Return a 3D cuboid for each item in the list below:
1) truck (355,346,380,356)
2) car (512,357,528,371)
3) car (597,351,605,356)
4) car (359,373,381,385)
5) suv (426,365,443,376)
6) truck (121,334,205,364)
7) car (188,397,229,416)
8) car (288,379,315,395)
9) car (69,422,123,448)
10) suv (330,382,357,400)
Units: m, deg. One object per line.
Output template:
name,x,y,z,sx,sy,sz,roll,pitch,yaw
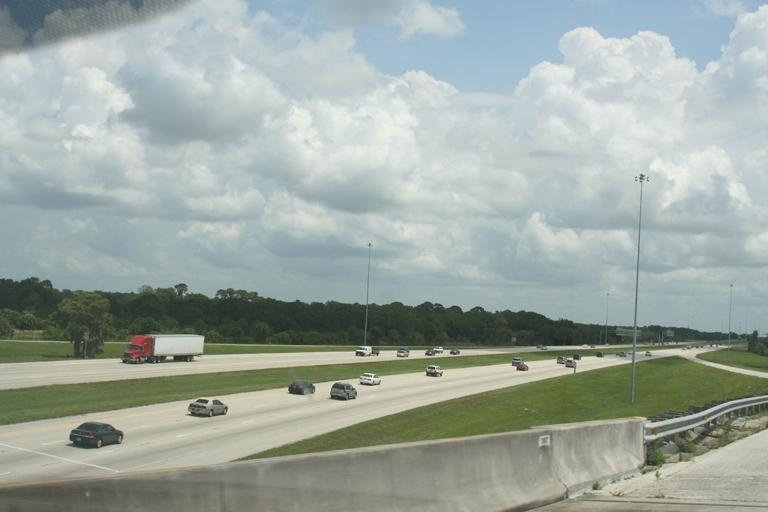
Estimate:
truck,-2.617,14.526,122.342,1.764,1.094,2.863,-2,-7,19
car,19.774,15.910,118.381,1.946,0.795,2.686,1,0,-8
car,40.552,18.096,151.405,1.559,1.028,1.129,-1,-7,12
car,-1.595,13.277,87.087,1.809,1.451,1.934,-3,-11,14
suv,6.218,14.015,98.890,1.058,0.890,1.852,2,4,23
truck,-26.068,10.886,94.878,1.725,3.831,9.477,-9,-14,39
car,-14.100,12.205,65.139,1.340,0.878,2.665,4,4,33
car,-8.008,12.707,77.683,2.472,1.415,1.467,10,-15,-43
car,-19.525,12.024,54.414,3.116,1.617,1.107,6,-12,-27
suv,-3.817,12.772,76.140,2.351,1.720,1.734,5,-12,-23
